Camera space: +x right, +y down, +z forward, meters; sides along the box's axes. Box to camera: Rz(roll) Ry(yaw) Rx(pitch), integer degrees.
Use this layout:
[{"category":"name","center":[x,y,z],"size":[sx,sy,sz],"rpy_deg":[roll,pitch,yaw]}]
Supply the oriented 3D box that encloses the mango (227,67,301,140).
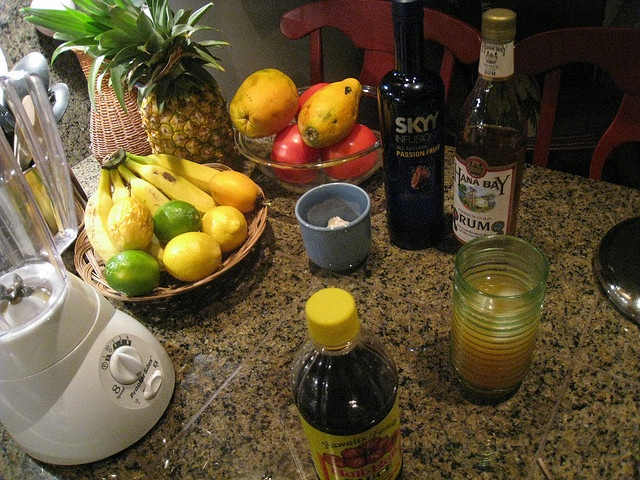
[{"category":"mango","center":[-0.113,-0.289,1.063],"size":[0.126,0.138,0.169],"rpy_deg":[17,42,15]}]

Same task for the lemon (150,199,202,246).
[{"category":"lemon","center":[-0.255,-0.034,0.952],"size":[0.086,0.074,0.073],"rpy_deg":[-26,64,15]}]

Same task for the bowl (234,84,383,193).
[{"category":"bowl","center":[-0.053,-0.242,1.031],"size":[0.253,0.096,0.257],"rpy_deg":[-10,37,8]}]

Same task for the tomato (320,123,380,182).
[{"category":"tomato","center":[0.060,-0.168,1.050],"size":[0.096,0.113,0.080],"rpy_deg":[18,44,27]}]

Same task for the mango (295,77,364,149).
[{"category":"mango","center":[0.021,-0.252,0.999],"size":[0.098,0.103,0.162],"rpy_deg":[26,56,33]}]

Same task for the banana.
[{"category":"banana","center":[-0.338,-0.088,0.963],"size":[0.191,0.076,0.230],"rpy_deg":[-2,58,-19]}]

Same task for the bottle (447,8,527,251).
[{"category":"bottle","center":[0.257,-0.169,0.808],"size":[0.106,0.343,0.143],"rpy_deg":[11,40,27]}]

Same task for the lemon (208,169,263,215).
[{"category":"lemon","center":[-0.157,-0.097,0.986],"size":[0.083,0.082,0.064],"rpy_deg":[22,37,36]}]

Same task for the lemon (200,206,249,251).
[{"category":"lemon","center":[-0.174,-0.027,0.972],"size":[0.085,0.075,0.090],"rpy_deg":[-8,30,-18]}]

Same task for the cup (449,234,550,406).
[{"category":"cup","center":[0.245,0.116,0.713],"size":[0.108,0.195,0.111],"rpy_deg":[6,16,-2]}]

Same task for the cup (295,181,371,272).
[{"category":"cup","center":[0.028,-0.021,0.919],"size":[0.133,0.107,0.136],"rpy_deg":[-6,37,5]}]

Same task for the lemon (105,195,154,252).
[{"category":"lemon","center":[-0.320,-0.024,0.867],"size":[0.080,0.090,0.081],"rpy_deg":[-7,30,-12]}]

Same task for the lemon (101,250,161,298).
[{"category":"lemon","center":[-0.303,0.054,0.832],"size":[0.065,0.085,0.067],"rpy_deg":[-21,68,30]}]
